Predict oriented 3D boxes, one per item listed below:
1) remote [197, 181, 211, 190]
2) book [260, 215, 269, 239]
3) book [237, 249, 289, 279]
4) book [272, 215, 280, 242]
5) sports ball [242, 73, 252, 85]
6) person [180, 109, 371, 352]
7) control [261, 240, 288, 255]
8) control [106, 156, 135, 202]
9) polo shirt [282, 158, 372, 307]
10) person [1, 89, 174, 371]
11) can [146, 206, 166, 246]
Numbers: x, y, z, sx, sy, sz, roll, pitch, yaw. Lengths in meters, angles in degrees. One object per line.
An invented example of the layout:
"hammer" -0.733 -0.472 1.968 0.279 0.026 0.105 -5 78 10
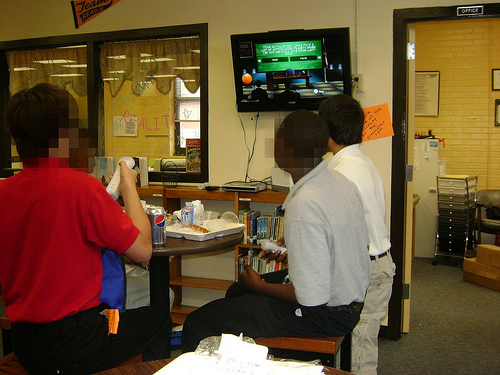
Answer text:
"remote" -0.439 -0.013 3.803 0.051 0.067 0.151 -7 10 -31
"book" 0.116 0.338 3.490 0.042 0.145 0.106 3 -2 3
"book" 0.024 0.680 3.555 0.280 0.283 0.157 -2 -33 1
"book" 0.219 0.343 3.443 0.050 0.158 0.114 6 2 -1
"sports ball" -0.027 -0.928 3.513 0.079 0.094 0.081 -5 25 2
"person" 0.137 0.435 2.212 0.988 1.536 0.654 2 10 27
"control" 0.134 0.331 2.328 0.115 0.045 0.068 19 -6 -14
"control" -0.719 -0.083 2.254 0.098 0.306 0.087 21 -33 5
"polo shirt" 0.351 0.219 1.931 0.290 0.680 0.458 7 10 44
"person" -0.745 0.217 1.878 0.665 1.290 0.355 -5 9 -37
"can" -0.513 0.211 2.284 0.130 0.207 0.099 -5 8 -35
